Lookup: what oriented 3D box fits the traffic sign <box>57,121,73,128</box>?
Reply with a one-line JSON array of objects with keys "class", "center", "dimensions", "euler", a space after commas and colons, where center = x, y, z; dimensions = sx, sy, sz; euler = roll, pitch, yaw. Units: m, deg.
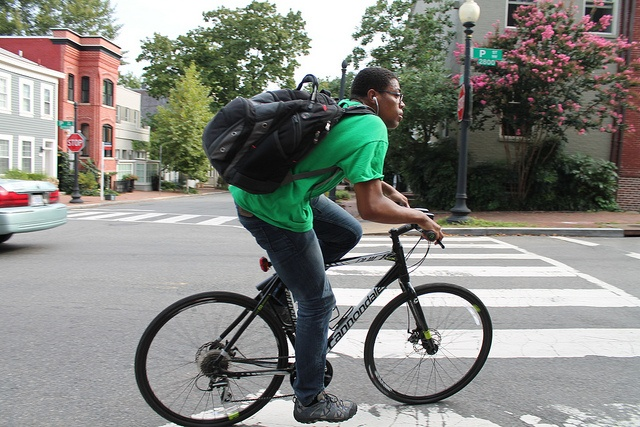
[{"class": "traffic sign", "center": [-12.205, -4.203, 24.321], "dimensions": [0.515, 0.362, 1.439], "euler": [-6, 13, -28]}]

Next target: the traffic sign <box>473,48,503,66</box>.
[{"class": "traffic sign", "center": [4.471, -4.190, 13.658], "dimensions": [0.756, 0.444, 0.623], "euler": [4, 14, 11]}]

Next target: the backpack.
[{"class": "backpack", "center": [-0.322, -0.584, 3.861], "dimensions": [1.100, 0.867, 0.406], "euler": [-1, 17, -9]}]

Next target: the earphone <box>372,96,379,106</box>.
[{"class": "earphone", "center": [0.451, -0.901, 4.098], "dimensions": [0.023, 0.071, 0.053], "euler": [-40, -23, -4]}]

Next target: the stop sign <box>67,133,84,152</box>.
[{"class": "stop sign", "center": [-11.445, -3.257, 23.752], "dimensions": [0.672, 0.833, 0.952], "euler": [-5, 16, -24]}]
